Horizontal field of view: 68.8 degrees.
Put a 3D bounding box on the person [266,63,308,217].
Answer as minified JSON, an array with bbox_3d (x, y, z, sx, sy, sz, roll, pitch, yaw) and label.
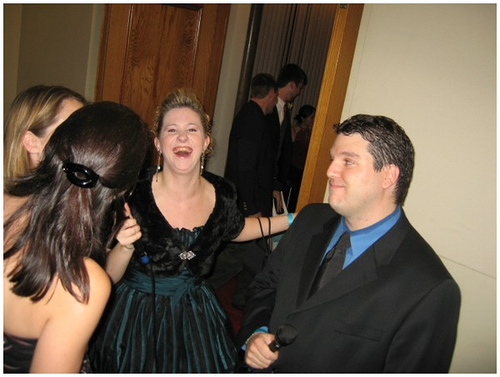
[{"bbox_3d":[0.363,-0.405,4.296,0.556,1.926,0.528,7,32,8],"label":"person"}]

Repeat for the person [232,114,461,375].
[{"bbox_3d":[0.441,0.302,1.637,0.902,1.241,0.512,12,13,22],"label":"person"}]

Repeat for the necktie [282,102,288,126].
[{"bbox_3d":[0.375,-0.816,4.038,0.037,0.272,0.029,5,-11,-3],"label":"necktie"}]

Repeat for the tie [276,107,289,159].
[{"bbox_3d":[0.352,-0.598,3.998,0.079,0.552,0.027,11,-8,-41],"label":"tie"}]

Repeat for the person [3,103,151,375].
[{"bbox_3d":[-0.663,0.191,1.275,0.495,0.994,0.338,6,12,-4],"label":"person"}]
